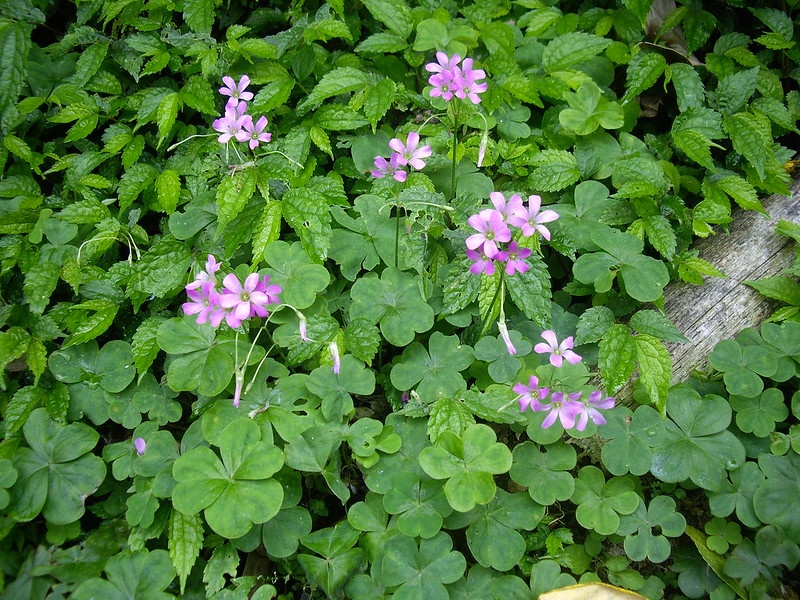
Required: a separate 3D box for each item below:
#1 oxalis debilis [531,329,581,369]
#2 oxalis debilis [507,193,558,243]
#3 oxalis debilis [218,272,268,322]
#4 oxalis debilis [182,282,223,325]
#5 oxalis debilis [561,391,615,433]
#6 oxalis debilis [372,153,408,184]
[{"bbox_3d":[0.807,0.280,3.122,0.210,0.073,0.246,-22,62,2],"label":"oxalis debilis"},{"bbox_3d":[0.655,-0.411,3.047,0.235,0.089,0.248,40,89,2],"label":"oxalis debilis"},{"bbox_3d":[-0.751,-0.021,3.028,0.225,0.240,0.245,-5,33,-11],"label":"oxalis debilis"},{"bbox_3d":[-0.944,0.017,3.050,0.194,0.110,0.220,-24,80,20],"label":"oxalis debilis"},{"bbox_3d":[0.957,0.558,3.113,0.223,0.077,0.240,-22,101,12],"label":"oxalis debilis"},{"bbox_3d":[-0.050,-0.711,3.335,0.174,0.083,0.184,6,91,3],"label":"oxalis debilis"}]
